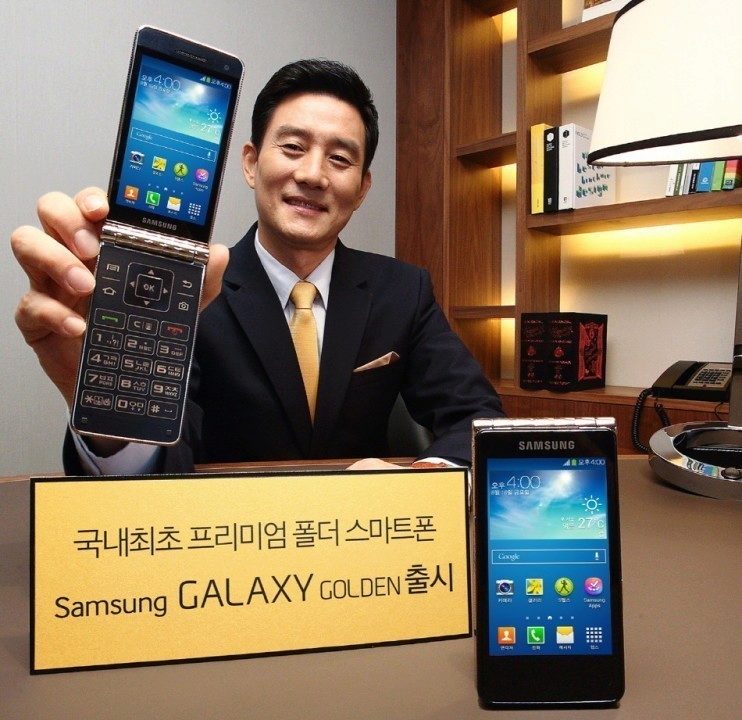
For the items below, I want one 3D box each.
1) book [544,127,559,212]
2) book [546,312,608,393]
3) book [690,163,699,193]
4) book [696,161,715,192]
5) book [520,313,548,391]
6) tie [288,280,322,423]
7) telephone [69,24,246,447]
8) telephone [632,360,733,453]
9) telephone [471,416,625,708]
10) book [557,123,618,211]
[{"bbox_3d":[0.524,-0.548,1.936,0.022,0.199,0.051,1,2,-37],"label":"book"},{"bbox_3d":[0.593,-0.026,1.935,0.153,0.225,0.121,-4,5,-40],"label":"book"},{"bbox_3d":[0.818,-0.456,1.688,0.013,0.059,0.057,6,-2,8],"label":"book"},{"bbox_3d":[0.835,-0.449,1.664,0.027,0.077,0.044,2,1,1],"label":"book"},{"bbox_3d":[0.477,-0.017,1.947,0.026,0.184,0.100,1,2,-31],"label":"book"},{"bbox_3d":[-0.125,-0.019,1.190,0.044,0.264,0.042,0,-32,-4],"label":"tie"},{"bbox_3d":[-0.185,-0.113,0.590,0.139,0.366,0.083,2,2,-20],"label":"telephone"},{"bbox_3d":[0.792,0.120,1.708,0.216,0.220,0.269,4,1,28],"label":"telephone"},{"bbox_3d":[0.116,0.130,0.445,0.102,0.157,0.069,3,1,10],"label":"telephone"},{"bbox_3d":[0.628,-0.554,1.967,0.207,0.229,0.084,-6,6,-29],"label":"book"}]
